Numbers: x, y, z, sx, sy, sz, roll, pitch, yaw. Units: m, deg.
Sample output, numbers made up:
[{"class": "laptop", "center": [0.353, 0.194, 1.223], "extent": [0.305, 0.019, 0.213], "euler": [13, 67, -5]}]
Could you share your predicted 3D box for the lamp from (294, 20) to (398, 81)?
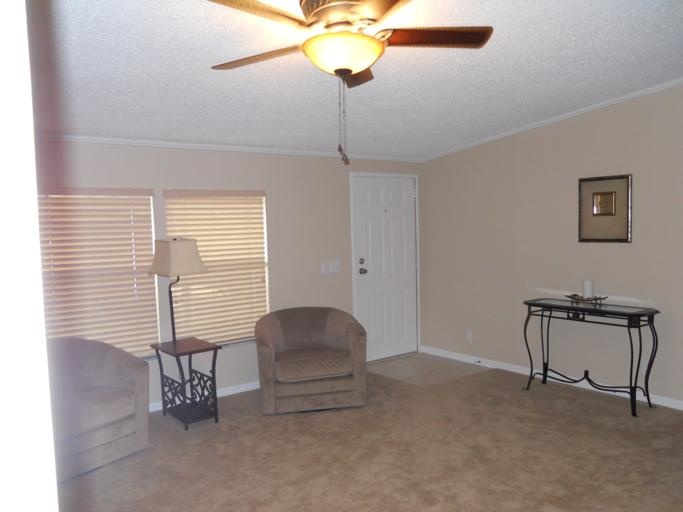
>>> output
[{"class": "lamp", "center": [0.008, -0.982, 2.552], "extent": [0.392, 0.137, 0.223], "euler": [-1, 1, 2]}]

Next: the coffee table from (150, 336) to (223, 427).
[{"class": "coffee table", "center": [-1.297, 1.005, 4.710], "extent": [0.656, 0.947, 0.650], "euler": [-2, 2, -36]}]

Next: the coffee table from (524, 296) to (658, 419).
[{"class": "coffee table", "center": [2.177, 0.843, 4.663], "extent": [0.374, 0.831, 1.045], "euler": [-5, 5, -37]}]

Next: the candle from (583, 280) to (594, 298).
[{"class": "candle", "center": [2.164, 0.287, 4.606], "extent": [0.068, 0.143, 0.075], "euler": [-1, 3, 18]}]

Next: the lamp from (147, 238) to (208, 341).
[{"class": "lamp", "center": [-1.376, 0.283, 4.381], "extent": [0.408, 0.893, 0.572], "euler": [-3, 3, -33]}]
